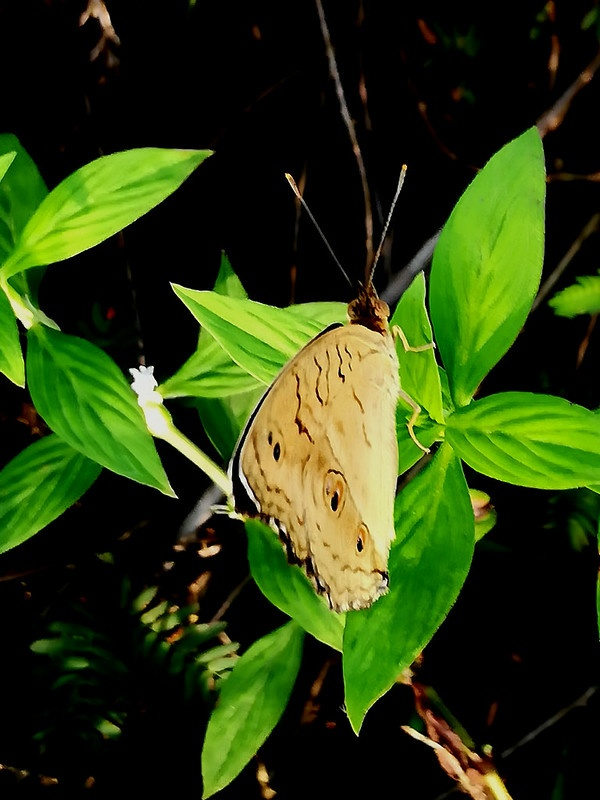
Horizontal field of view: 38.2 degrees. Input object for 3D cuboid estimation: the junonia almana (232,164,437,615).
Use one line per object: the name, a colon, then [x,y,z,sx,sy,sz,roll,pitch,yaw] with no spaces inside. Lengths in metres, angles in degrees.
junonia almana: [0.033,0.012,0.637,0.130,0.107,0.361,7,95,47]
